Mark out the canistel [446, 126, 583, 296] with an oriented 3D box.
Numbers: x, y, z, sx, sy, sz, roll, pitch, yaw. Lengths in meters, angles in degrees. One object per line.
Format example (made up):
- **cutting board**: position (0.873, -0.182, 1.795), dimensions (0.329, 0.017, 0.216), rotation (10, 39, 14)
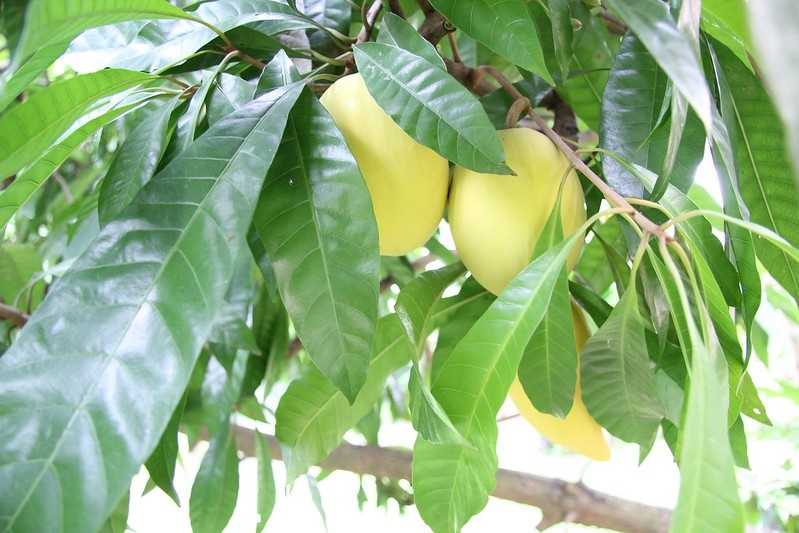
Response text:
- **canistel**: position (0.115, -0.043, 0.742), dimensions (0.139, 0.187, 0.141), rotation (-6, -3, 24)
